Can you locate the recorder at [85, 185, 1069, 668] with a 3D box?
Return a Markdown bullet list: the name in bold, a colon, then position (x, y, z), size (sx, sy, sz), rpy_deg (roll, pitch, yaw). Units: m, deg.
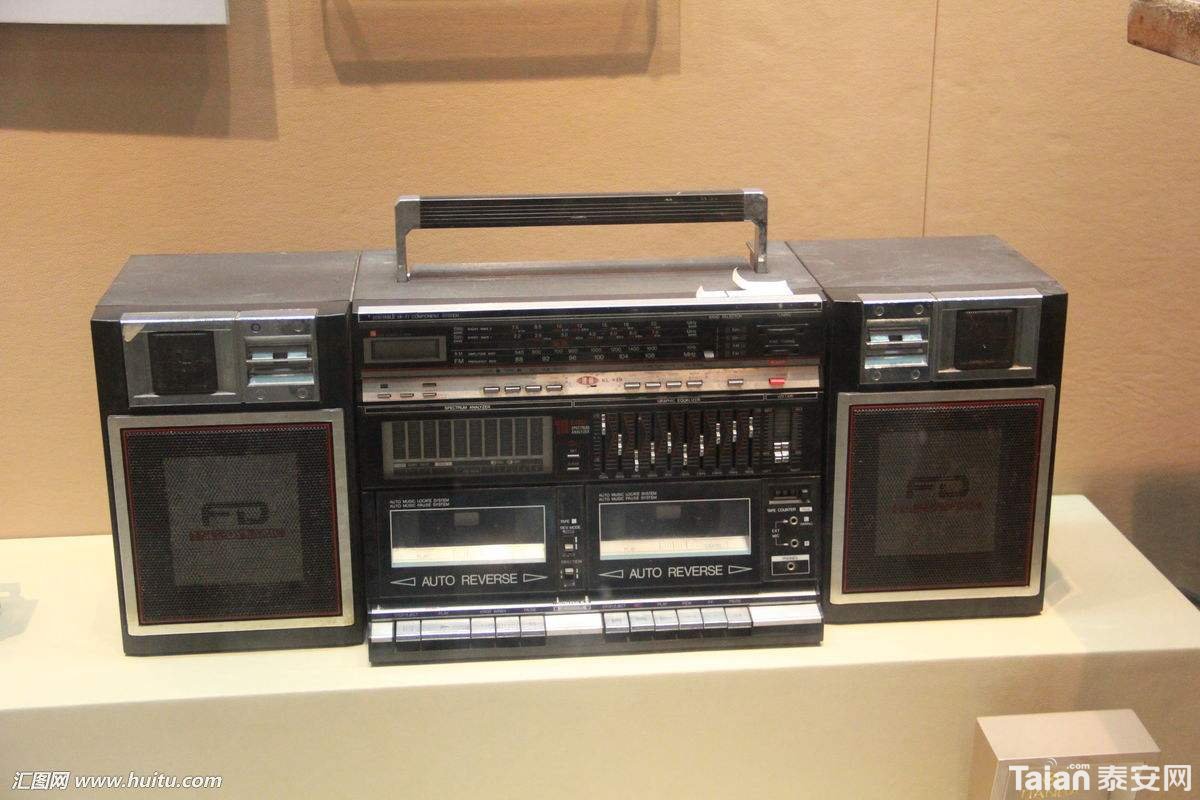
- **recorder**: position (-0.052, 0.083, 2.089), size (1.779, 0.475, 0.355), rpy_deg (-1, 25, -2)
